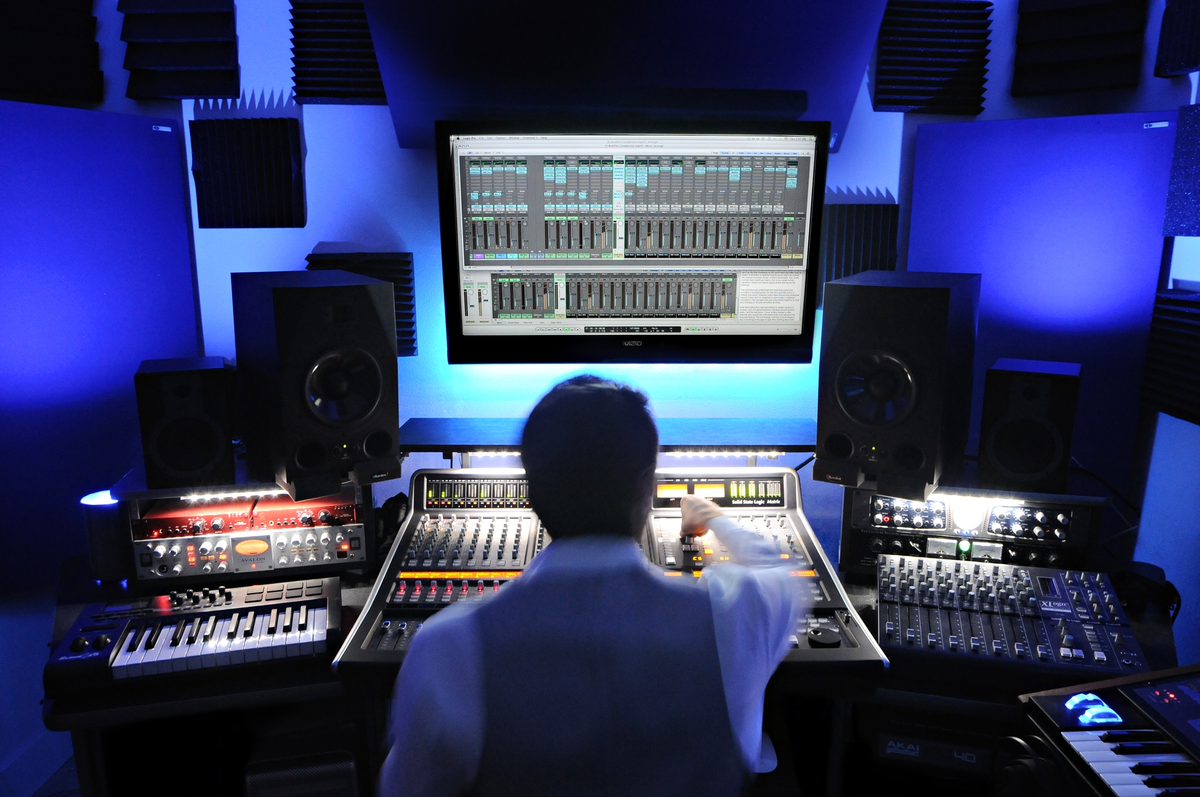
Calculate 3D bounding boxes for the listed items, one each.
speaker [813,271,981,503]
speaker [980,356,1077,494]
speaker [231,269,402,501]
[{"bbox_3d":[1.043,-0.060,3.211,0.405,0.749,0.428,7,12,36],"label":"speaker"},{"bbox_3d":[1.507,0.100,3.214,0.313,0.423,0.156,2,10,14],"label":"speaker"},{"bbox_3d":[-0.984,-0.064,3.158,0.473,0.736,0.393,-6,11,-29],"label":"speaker"}]
